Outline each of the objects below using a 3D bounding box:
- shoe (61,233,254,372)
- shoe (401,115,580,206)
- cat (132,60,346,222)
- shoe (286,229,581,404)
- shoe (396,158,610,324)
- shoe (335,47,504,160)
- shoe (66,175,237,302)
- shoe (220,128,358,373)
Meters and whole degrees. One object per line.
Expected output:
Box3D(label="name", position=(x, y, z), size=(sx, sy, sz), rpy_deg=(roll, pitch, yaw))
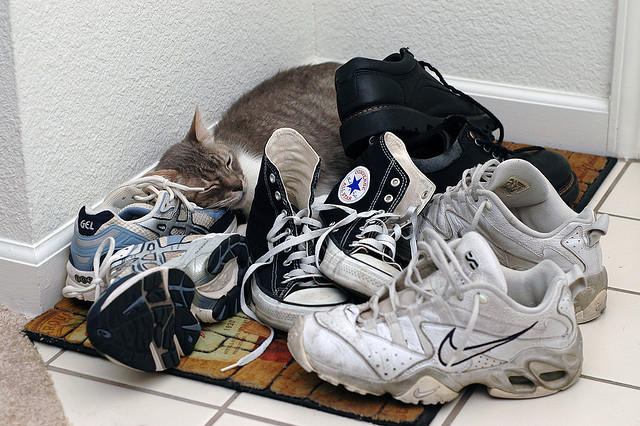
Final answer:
Box3D(label="shoe", position=(-0.312, 0.160, 1.268), size=(0.253, 0.187, 0.572), rpy_deg=(33, 26, 20))
Box3D(label="shoe", position=(0.469, -0.143, 1.401), size=(0.551, 0.225, 0.179), rpy_deg=(9, 38, 2))
Box3D(label="cat", position=(-0.264, -0.211, 1.570), size=(0.631, 0.321, 0.185), rpy_deg=(-27, 43, 12))
Box3D(label="shoe", position=(0.261, 0.181, 1.162), size=(0.753, 0.372, 0.279), rpy_deg=(0, 32, -2))
Box3D(label="shoe", position=(0.443, 0.014, 1.318), size=(0.241, 0.257, 0.622), rpy_deg=(-29, 31, -29))
Box3D(label="shoe", position=(0.387, -0.310, 1.729), size=(0.755, 0.245, 0.321), rpy_deg=(7, 64, -45))
Box3D(label="shoe", position=(-0.461, 0.018, 1.462), size=(0.239, 0.236, 0.555), rpy_deg=(10, 19, 29))
Box3D(label="shoe", position=(-0.076, 0.065, 1.269), size=(0.381, 0.259, 0.602), rpy_deg=(-2, 38, -17))
